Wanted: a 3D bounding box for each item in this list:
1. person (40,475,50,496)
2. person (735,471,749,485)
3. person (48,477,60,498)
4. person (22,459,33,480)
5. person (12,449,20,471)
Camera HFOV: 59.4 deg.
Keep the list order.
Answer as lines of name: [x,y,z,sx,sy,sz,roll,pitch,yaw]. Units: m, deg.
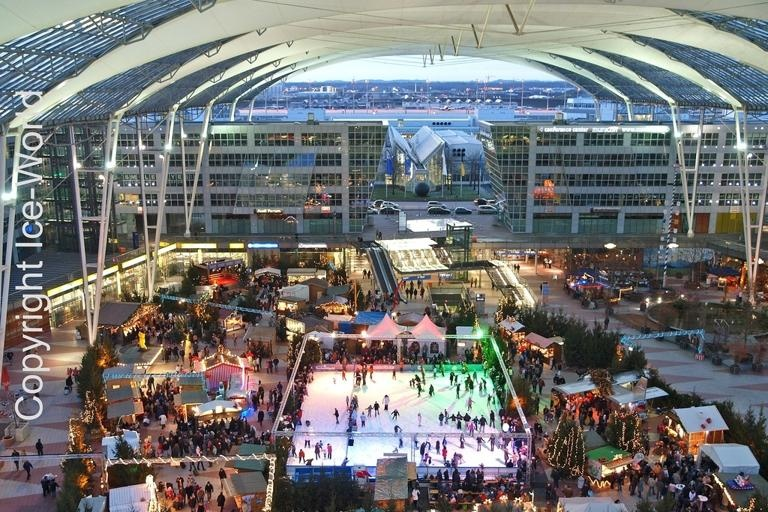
person: [-18.047,12.200,35.726,0.370,0.990,0.207,-2,2,-17]
person: [18.412,11.431,34.466,0.776,0.466,0.526,-3,3,-40]
person: [-17.633,12.221,35.848,0.361,0.954,0.440,0,2,29]
person: [-19.777,11.726,37.152,0.406,1.023,0.955,-2,2,-27]
person: [-20.574,11.452,37.465,0.364,1.019,1.373,-2,3,-29]
